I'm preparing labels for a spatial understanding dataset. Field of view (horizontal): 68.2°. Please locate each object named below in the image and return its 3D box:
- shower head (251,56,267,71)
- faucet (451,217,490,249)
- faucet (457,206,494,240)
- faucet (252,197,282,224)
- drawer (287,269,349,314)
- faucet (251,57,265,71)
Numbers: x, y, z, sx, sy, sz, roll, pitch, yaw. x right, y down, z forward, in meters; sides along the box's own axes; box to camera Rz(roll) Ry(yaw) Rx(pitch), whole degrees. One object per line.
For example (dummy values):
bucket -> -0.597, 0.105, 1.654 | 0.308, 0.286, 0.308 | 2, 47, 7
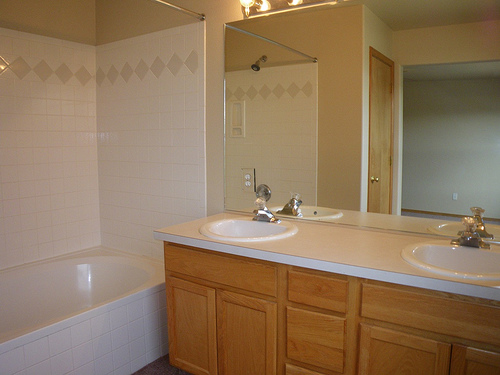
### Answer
shower head -> 0.063, -0.855, 2.569 | 0.065, 0.102, 0.057 | 49, 27, 21
faucet -> 1.173, 0.236, 1.976 | 0.113, 0.139, 0.195 | -3, -5, -34
faucet -> 1.275, 0.197, 2.123 | 0.155, 0.157, 0.144 | -2, 1, -15
faucet -> 0.112, 0.159, 2.498 | 0.222, 0.141, 0.076 | 9, 11, 17
drawer -> 0.341, 0.529, 1.881 | 0.266, 0.143, 0.181 | 2, -1, 32
faucet -> 0.055, -0.851, 2.569 | 0.050, 0.100, 0.054 | 11, -21, 36
